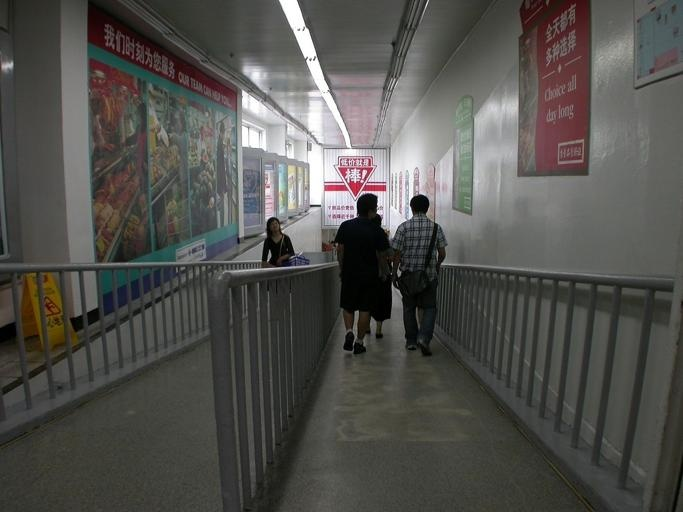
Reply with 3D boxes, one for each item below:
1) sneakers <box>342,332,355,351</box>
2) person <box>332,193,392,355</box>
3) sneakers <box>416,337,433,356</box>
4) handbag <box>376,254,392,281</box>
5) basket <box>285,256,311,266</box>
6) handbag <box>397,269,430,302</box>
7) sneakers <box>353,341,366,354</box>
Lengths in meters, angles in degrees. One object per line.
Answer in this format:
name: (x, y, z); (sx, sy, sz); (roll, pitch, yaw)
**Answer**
sneakers: (0.088, 0.975, 4.998); (0.091, 0.242, 0.092); (3, 0, -9)
person: (0.241, 0.222, 5.233); (0.627, 1.876, 0.796); (0, 6, 0)
sneakers: (0.914, 1.011, 4.939); (0.135, 0.197, 0.129); (0, 7, 0)
handbag: (0.487, 0.143, 5.267); (0.188, 0.202, 0.596); (-7, -20, 8)
basket: (-0.608, 0.076, 6.622); (0.230, 0.164, 0.238); (-4, 7, -35)
handbag: (0.826, 0.279, 5.137); (0.445, 0.529, 0.242); (1, 7, 14)
sneakers: (0.196, 1.036, 4.993); (0.115, 0.139, 0.172); (1, 8, 10)
